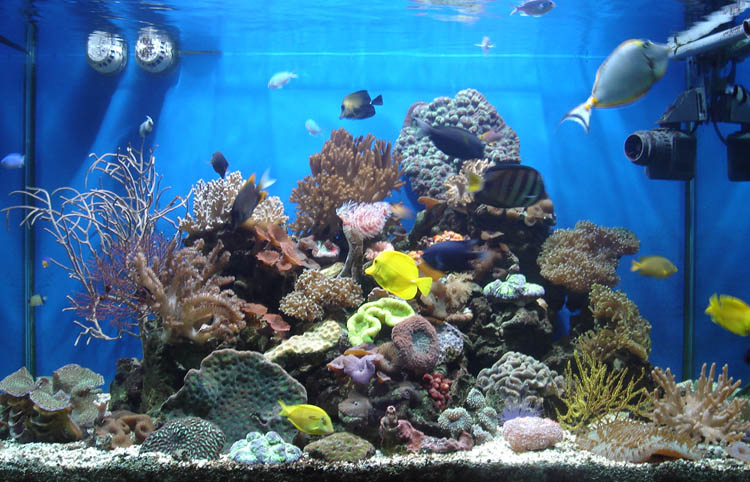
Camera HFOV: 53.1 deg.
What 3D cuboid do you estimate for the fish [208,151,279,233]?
[{"bbox_3d":[-1.928,-0.680,10.817,0.321,1.212,0.635,35,19,-35],"label":"fish"}]

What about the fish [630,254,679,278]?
[{"bbox_3d":[4.090,0.374,11.073,0.602,0.332,0.321,6,8,18],"label":"fish"}]

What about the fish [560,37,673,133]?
[{"bbox_3d":[2.931,-2.002,9.229,1.472,0.811,0.683,-38,26,4],"label":"fish"}]
